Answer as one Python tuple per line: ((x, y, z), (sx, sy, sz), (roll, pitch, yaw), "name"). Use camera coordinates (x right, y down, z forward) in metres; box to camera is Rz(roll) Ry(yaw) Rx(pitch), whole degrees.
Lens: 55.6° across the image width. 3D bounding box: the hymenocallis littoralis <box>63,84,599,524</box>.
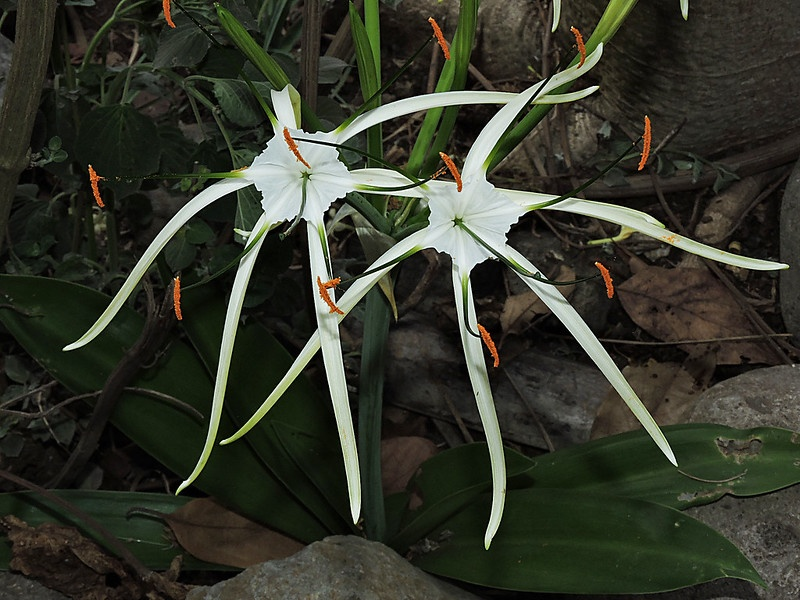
((-0.154, -0.044, 1.076), (0.615, 0.211, 0.570), (7, 84, 5), "hymenocallis littoralis")
